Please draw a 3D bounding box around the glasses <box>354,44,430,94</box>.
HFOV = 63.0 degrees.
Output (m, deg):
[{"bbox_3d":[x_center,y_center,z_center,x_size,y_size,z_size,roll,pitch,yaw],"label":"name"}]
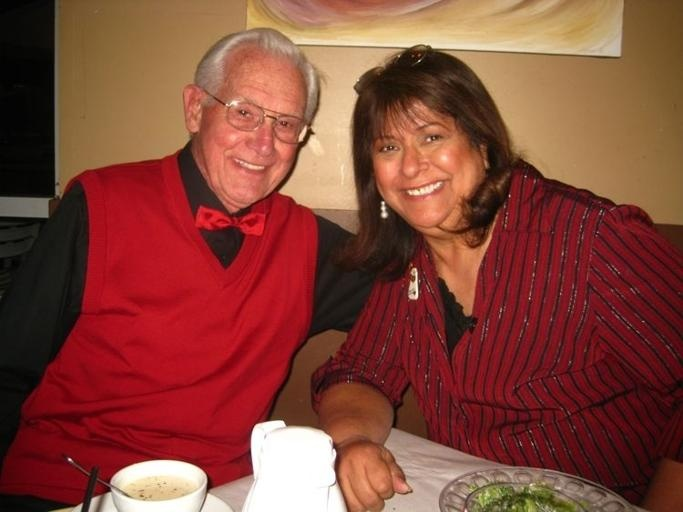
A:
[{"bbox_3d":[0.191,-0.718,2.094,0.211,0.069,0.217,-31,17,12],"label":"glasses"}]
